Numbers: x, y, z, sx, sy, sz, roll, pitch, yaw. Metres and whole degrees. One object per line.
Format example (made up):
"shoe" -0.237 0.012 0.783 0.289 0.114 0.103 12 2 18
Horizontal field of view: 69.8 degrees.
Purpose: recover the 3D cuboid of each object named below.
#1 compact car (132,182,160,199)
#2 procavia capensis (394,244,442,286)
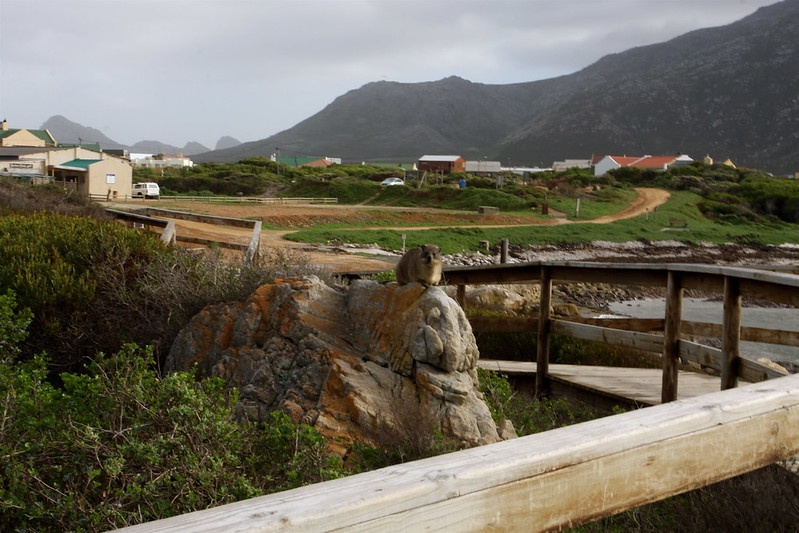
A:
"compact car" -21.860 -6.633 49.915 1.745 1.468 3.103 -6 15 -44
"procavia capensis" 0.283 -0.028 7.362 0.372 0.348 0.709 0 -1 -10
